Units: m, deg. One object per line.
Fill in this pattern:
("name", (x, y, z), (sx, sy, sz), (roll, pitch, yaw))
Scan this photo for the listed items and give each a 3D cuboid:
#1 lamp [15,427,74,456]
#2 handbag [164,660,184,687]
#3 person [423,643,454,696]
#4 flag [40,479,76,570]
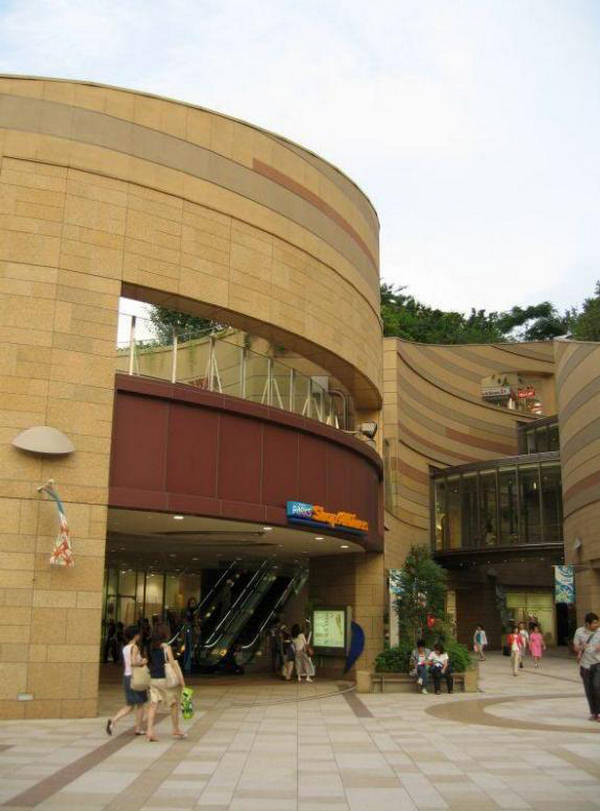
("lamp", (-4.616, 0.625, 12.636), (1.046, 0.552, 0.412), (2, -13, -18))
("handbag", (-1.714, 3.670, 9.522), (0.209, 0.412, 0.581), (-1, -12, -2))
("person", (3.639, 6.846, 18.172), (0.619, 1.189, 0.713), (-3, -12, 7))
("flag", (-4.355, 2.094, 12.387), (0.483, 1.514, 0.873), (-6, -13, 20))
